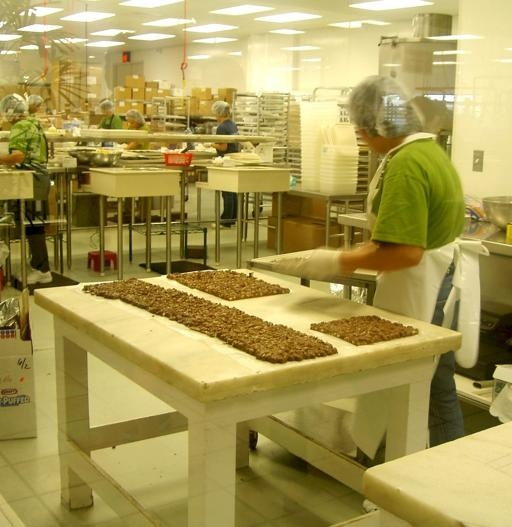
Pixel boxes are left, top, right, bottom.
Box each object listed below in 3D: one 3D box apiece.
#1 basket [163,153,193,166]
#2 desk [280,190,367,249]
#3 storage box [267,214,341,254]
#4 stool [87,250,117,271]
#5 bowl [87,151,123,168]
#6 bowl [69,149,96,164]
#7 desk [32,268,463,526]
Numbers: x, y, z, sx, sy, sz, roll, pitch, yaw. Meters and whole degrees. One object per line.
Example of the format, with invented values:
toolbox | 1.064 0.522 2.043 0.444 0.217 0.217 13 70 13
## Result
basket | -0.824 -1.097 5.151 0.238 0.090 0.162 -6 16 -23
desk | 0.560 -0.610 5.431 0.711 0.622 1.085 -5 14 -26
storage box | 0.529 -0.329 5.521 0.506 0.376 0.872 -7 12 -32
stool | -1.595 -0.041 5.068 0.273 0.180 0.259 -4 8 -31
bowl | -1.567 -1.081 5.071 0.205 0.189 0.469 -3 9 -42
bowl | -1.845 -1.123 5.196 0.265 0.102 0.260 0 10 0
desk | -0.084 0.402 1.316 0.706 0.602 0.847 -2 8 -36
